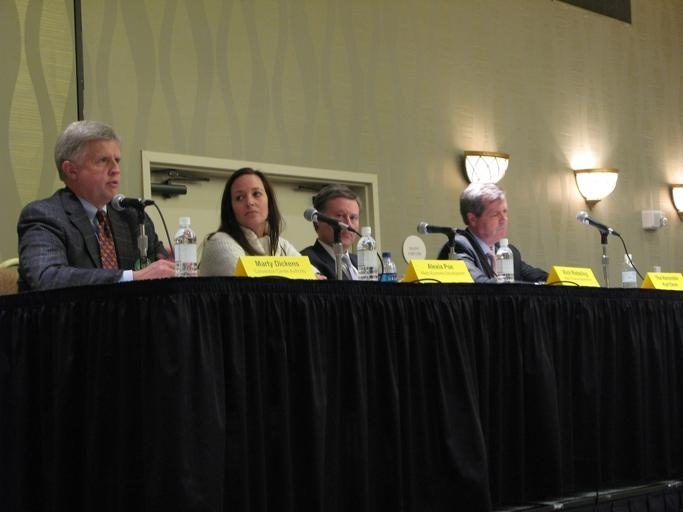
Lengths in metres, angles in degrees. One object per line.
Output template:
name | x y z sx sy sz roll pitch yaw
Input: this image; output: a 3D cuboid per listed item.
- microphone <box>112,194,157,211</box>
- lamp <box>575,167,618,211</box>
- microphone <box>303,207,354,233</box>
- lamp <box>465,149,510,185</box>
microphone | -0.871 -0.215 3.200 0.136 0.071 0.245 -1 14 -26
lamp | 2.457 -0.675 7.558 0.381 0.352 0.385 1 -4 -11
microphone | -0.041 -0.158 3.443 0.224 0.106 0.355 5 12 4
lamp | 1.304 -0.750 6.854 0.356 0.294 0.348 4 7 -43
